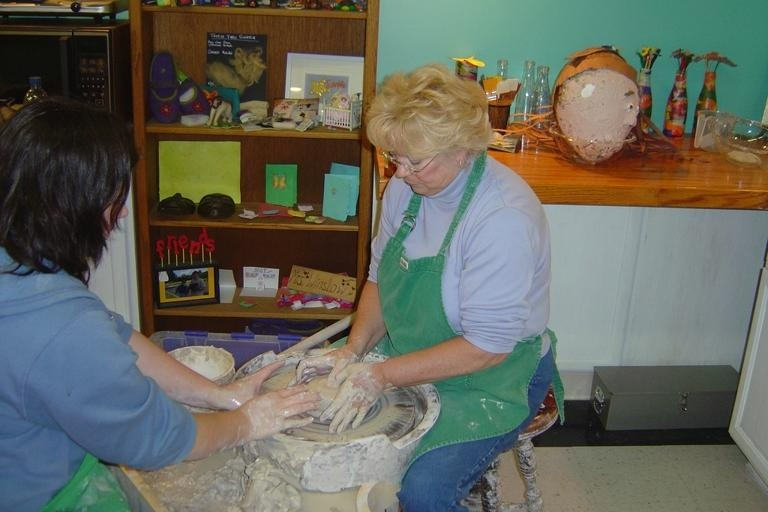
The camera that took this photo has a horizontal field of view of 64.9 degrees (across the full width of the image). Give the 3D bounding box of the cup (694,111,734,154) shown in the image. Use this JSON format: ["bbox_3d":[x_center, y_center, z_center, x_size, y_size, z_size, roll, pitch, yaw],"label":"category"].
[{"bbox_3d":[1.591,-0.596,2.944,0.175,0.175,0.147,0,18,5],"label":"cup"}]

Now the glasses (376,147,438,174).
[{"bbox_3d":[0.087,-0.328,2.097,0.198,0.062,0.194,-5,23,-43],"label":"glasses"}]

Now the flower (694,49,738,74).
[{"bbox_3d":[1.782,-1.041,3.230,0.168,0.057,0.171,4,23,7],"label":"flower"}]

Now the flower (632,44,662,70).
[{"bbox_3d":[1.355,-1.012,3.106,0.094,0.119,0.163,8,17,17],"label":"flower"}]

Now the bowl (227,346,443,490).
[{"bbox_3d":[-0.067,0.519,1.809,0.377,0.141,0.405,3,13,-1],"label":"bowl"}]

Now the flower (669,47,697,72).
[{"bbox_3d":[1.532,-0.985,3.134,0.161,0.167,0.163,4,17,25],"label":"flower"}]
